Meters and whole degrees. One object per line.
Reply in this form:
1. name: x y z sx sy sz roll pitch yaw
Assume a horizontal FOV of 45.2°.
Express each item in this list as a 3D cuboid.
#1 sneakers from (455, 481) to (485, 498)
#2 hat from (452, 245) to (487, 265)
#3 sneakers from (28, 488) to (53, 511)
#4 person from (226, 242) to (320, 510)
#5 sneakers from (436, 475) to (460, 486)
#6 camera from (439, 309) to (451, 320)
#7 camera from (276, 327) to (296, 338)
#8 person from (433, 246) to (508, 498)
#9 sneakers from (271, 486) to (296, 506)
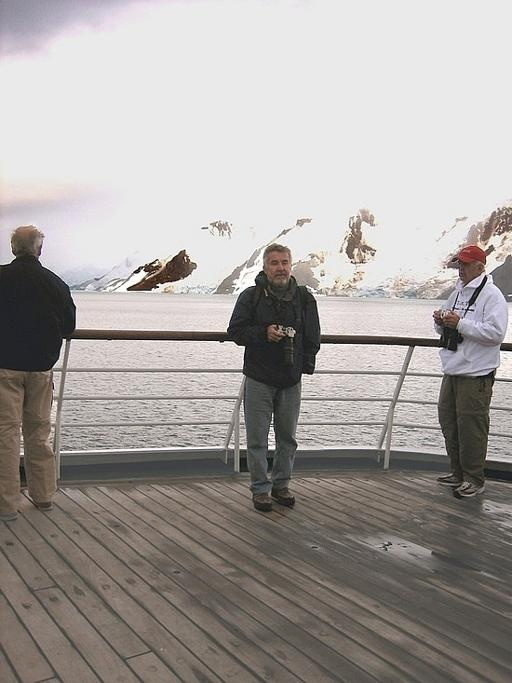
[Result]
1. sneakers: 1.219 0.853 3.532 0.206 0.075 0.071 -6 8 -8
2. hat: 1.272 -0.483 3.591 0.205 0.099 0.132 10 8 -6
3. sneakers: -1.080 0.788 3.035 0.064 0.066 0.168 -4 18 -41
4. person: 0.076 0.186 3.255 0.496 1.380 0.363 2 7 -11
5. sneakers: 1.182 0.852 3.778 0.144 0.054 0.049 12 1 -8
6. camera: 1.090 -0.158 3.542 0.062 0.054 0.034 7 13 15
7. camera: 0.145 -0.046 3.079 0.074 0.058 0.092 6 7 27
8. person: 1.234 0.157 3.650 0.413 1.460 0.462 5 7 15
9. sneakers: 0.143 0.834 3.306 0.060 0.063 0.156 0 -6 -16
